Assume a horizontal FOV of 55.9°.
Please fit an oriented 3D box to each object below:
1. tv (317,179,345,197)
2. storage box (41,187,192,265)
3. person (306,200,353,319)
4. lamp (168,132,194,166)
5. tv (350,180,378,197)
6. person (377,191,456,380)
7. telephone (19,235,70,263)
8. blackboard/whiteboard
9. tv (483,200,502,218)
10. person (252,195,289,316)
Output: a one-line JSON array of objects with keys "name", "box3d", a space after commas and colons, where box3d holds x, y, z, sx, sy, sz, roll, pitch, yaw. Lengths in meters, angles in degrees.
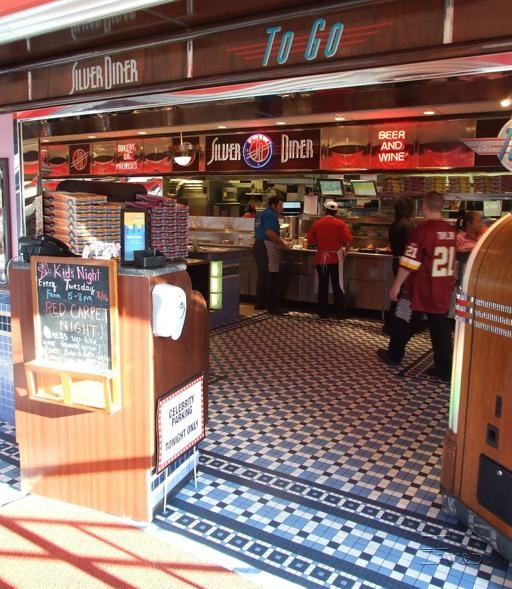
[{"name": "tv", "box3d": [1.388, -1.982, 8.974, 0.219, 0.285, 0.488, -4, 9, -41]}, {"name": "storage box", "box3d": [-0.778, -0.401, 2.819, 0.848, 0.405, 0.697, -2, 8, -23]}, {"name": "person", "box3d": [1.102, -0.416, 7.471, 0.638, 1.581, 0.241, 3, 7, 4]}, {"name": "lamp", "box3d": [-1.361, -2.691, 8.904, 0.448, 0.644, 1.566, 1, 7, -11]}, {"name": "tv", "box3d": [1.923, -1.885, 8.542, 0.414, 0.263, 0.052, 10, 53, 36]}, {"name": "person", "box3d": [1.671, -0.069, 4.809, 0.651, 1.834, 0.591, 3, 7, 11]}, {"name": "telephone", "box3d": [-1.147, -0.253, 2.590, 0.234, 0.107, 0.151, 9, 12, 14]}, {"name": "blackboard/whiteboard", "box3d": [-0.899, 0.088, 2.429, 0.654, 0.638, 0.040, 5, 10, 20]}, {"name": "tv", "box3d": [3.942, -1.419, 8.065, 0.292, 0.294, 0.096, 4, 7, 13]}, {"name": "person", "box3d": [0.225, -0.658, 8.011, 0.530, 1.898, 0.756, 2, 7, 2]}]
